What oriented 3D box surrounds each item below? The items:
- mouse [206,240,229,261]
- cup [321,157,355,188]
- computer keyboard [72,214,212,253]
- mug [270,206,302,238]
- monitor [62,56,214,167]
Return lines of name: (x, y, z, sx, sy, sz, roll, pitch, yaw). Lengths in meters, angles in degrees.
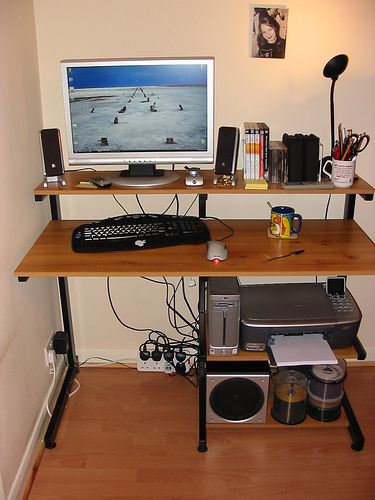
mouse: (0.106, 0.002, 1.471, 0.074, 0.045, 0.102, 1, 24, 4)
cup: (0.579, -0.302, 1.585, 0.079, 0.108, 0.119, -24, 31, -35)
computer keyboard: (-0.187, -0.070, 1.665, 0.556, 0.072, 0.273, -5, 26, -9)
mug: (0.396, -0.105, 1.663, 0.124, 0.108, 0.077, 3, 7, 6)
monitor: (-0.192, -0.526, 1.488, 0.587, 0.409, 0.055, 0, 27, 3)
